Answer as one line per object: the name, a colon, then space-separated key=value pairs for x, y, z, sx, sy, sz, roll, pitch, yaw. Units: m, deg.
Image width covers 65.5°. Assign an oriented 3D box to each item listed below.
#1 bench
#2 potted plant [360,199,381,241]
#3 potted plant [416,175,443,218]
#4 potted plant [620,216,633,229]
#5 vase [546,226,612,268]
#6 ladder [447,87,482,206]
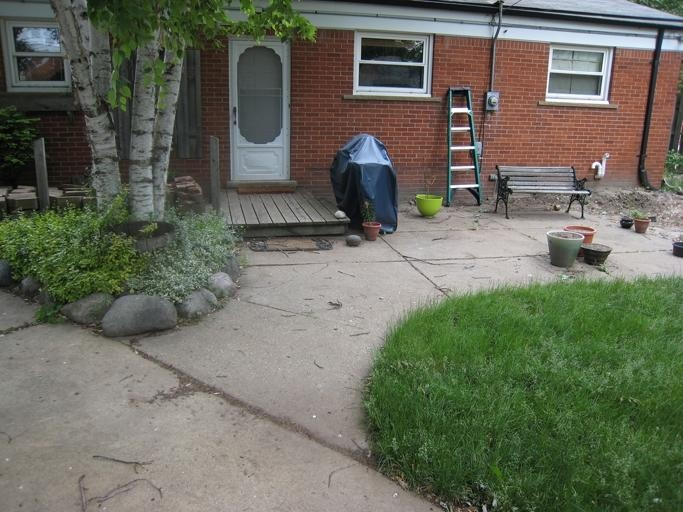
bench: x=3.640 y=-1.222 z=9.735 sx=1.516 sy=0.833 sz=2.052 roll=5 pitch=14 yaw=17
potted plant: x=0.441 y=-0.532 z=7.636 sx=0.263 sy=0.547 sz=0.399 roll=2 pitch=14 yaw=3
potted plant: x=1.475 y=-1.026 z=8.953 sx=0.419 sy=0.654 sz=0.432 roll=-10 pitch=17 yaw=-22
potted plant: x=4.636 y=-0.558 z=8.646 sx=0.202 sy=0.155 sz=0.179 roll=-1 pitch=7 yaw=0
vase: x=2.950 y=-0.133 z=6.636 sx=0.698 sy=0.320 sz=0.465 roll=-3 pitch=20 yaw=-5
ladder: x=2.351 y=-2.066 z=10.019 sx=0.844 sy=2.159 sz=0.658 roll=0 pitch=13 yaw=-5
